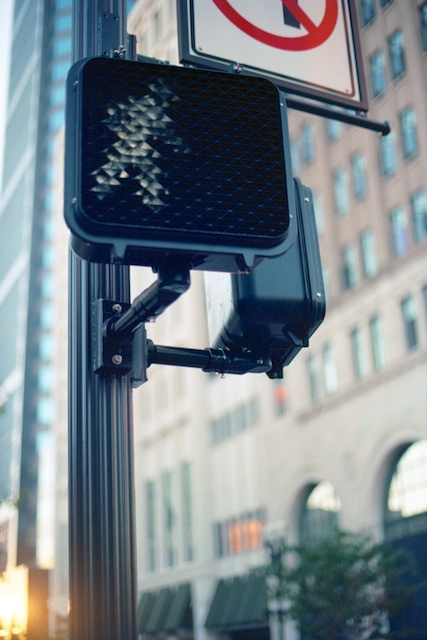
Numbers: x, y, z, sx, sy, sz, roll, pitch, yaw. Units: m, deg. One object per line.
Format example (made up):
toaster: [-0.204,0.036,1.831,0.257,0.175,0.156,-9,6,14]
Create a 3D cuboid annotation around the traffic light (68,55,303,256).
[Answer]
traffic light: [-0.064,-0.303,1.481,0.533,0.492,0.175,2,-17,-14]
